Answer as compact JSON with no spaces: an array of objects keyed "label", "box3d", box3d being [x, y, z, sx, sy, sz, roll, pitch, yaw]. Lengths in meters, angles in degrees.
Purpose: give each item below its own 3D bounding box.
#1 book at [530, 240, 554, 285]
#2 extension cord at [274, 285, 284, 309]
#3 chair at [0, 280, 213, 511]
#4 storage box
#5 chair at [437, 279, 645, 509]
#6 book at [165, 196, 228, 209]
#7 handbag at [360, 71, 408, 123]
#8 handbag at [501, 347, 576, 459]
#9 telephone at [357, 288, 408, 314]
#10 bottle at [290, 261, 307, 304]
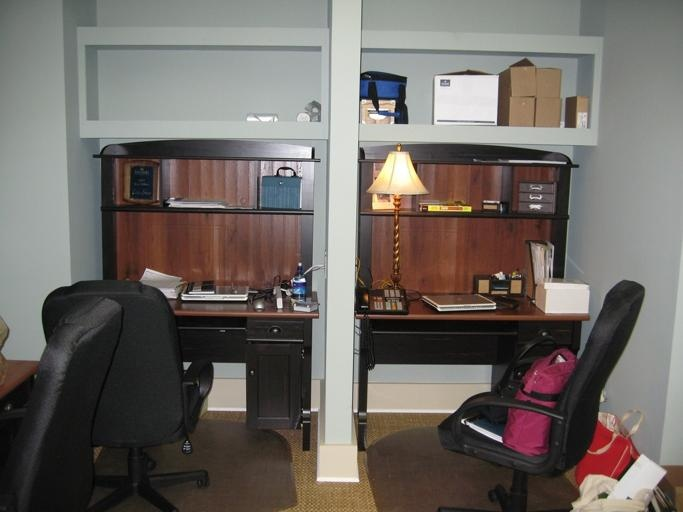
[{"label":"book","box3d":[1.500,0.049,4.604,0.188,0.293,0.502,2,8,20]},{"label":"extension cord","box3d":[-0.454,0.295,4.341,0.068,0.106,0.322,-2,8,-7]},{"label":"chair","box3d":[-1.142,0.789,3.428,0.636,1.407,0.761,0,8,6]},{"label":"storage box","box3d":[1.239,-1.185,4.488,1.170,0.539,0.292,-2,8,-6]},{"label":"chair","box3d":[1.177,0.838,4.066,1.222,1.963,1.190,3,-1,19]},{"label":"book","box3d":[-1.097,-0.384,4.553,0.444,0.078,0.184,-3,8,-13]},{"label":"handbag","box3d":[0.284,-1.113,4.533,0.380,0.381,0.358,0,2,-3]},{"label":"handbag","box3d":[1.060,0.803,3.270,0.239,0.463,0.473,14,1,23]},{"label":"telephone","box3d":[0.273,0.313,4.254,0.354,0.164,0.131,-1,8,3]},{"label":"bottle","box3d":[-0.325,0.192,4.474,0.128,0.275,0.475,-2,8,-4]}]
